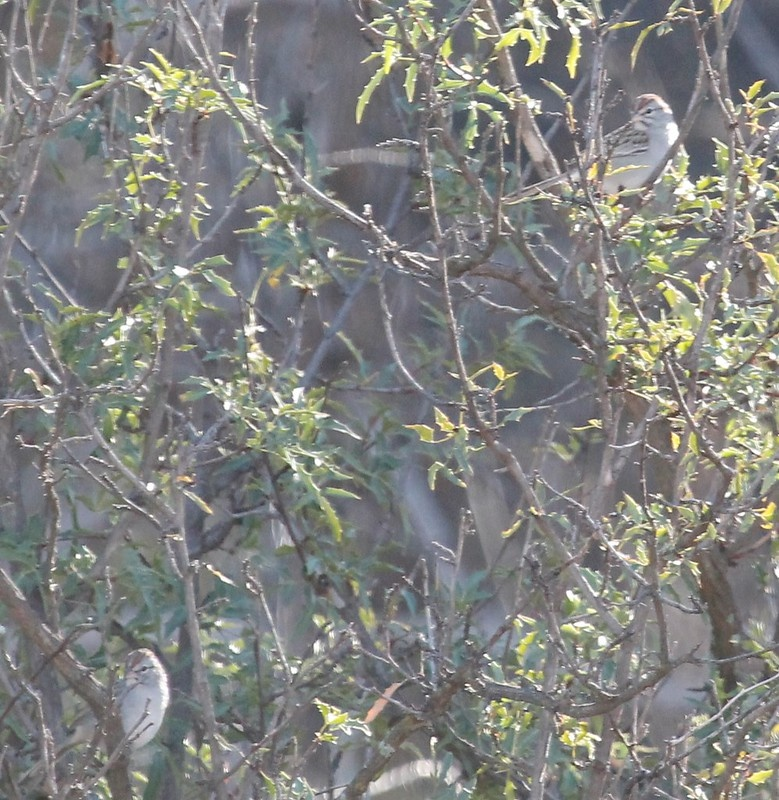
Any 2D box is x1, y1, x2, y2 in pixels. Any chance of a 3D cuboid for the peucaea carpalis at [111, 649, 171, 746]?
[{"bbox_3d":[-0.352,0.435,2.693,0.085,0.073,0.153,-3,79,-28],"label":"peucaea carpalis"}]
